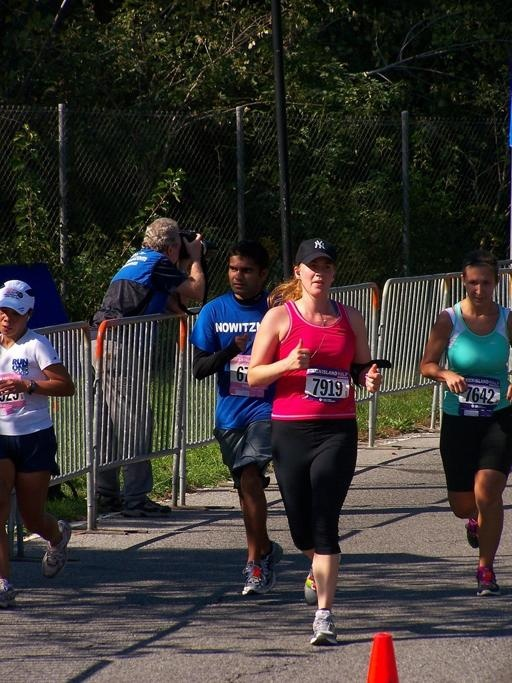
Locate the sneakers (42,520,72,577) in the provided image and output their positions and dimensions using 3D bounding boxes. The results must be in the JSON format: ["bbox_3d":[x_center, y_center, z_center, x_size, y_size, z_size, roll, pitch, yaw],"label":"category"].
[{"bbox_3d":[-0.984,1.060,6.187,0.112,0.311,0.126,10,9,10],"label":"sneakers"}]

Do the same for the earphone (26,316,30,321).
[{"bbox_3d":[-1.122,-0.120,6.057,0.020,0.022,0.025,0,-25,-3],"label":"earphone"}]

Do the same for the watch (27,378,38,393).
[{"bbox_3d":[-1.047,0.211,5.753,0.041,0.059,0.054,3,-1,-22],"label":"watch"}]

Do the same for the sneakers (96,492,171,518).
[{"bbox_3d":[-0.755,1.025,7.796,0.501,0.220,0.171,0,1,-3],"label":"sneakers"}]

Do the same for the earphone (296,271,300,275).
[{"bbox_3d":[0.191,-0.315,5.617,0.014,0.016,0.018,3,0,-7],"label":"earphone"}]

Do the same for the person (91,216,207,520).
[{"bbox_3d":[-0.743,0.159,7.725,0.529,1.873,1.172,2,6,25],"label":"person"}]

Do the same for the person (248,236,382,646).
[{"bbox_3d":[0.312,0.406,5.406,0.567,1.713,0.587,-4,7,-37],"label":"person"}]

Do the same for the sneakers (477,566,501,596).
[{"bbox_3d":[1.111,1.137,5.915,0.108,0.148,0.173,1,5,11],"label":"sneakers"}]

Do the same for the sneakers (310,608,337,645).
[{"bbox_3d":[0.282,1.195,5.173,0.110,0.163,0.161,0,5,3],"label":"sneakers"}]

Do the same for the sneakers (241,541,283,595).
[{"bbox_3d":[0.042,1.098,6.004,0.115,0.311,0.141,28,-20,-2],"label":"sneakers"}]
